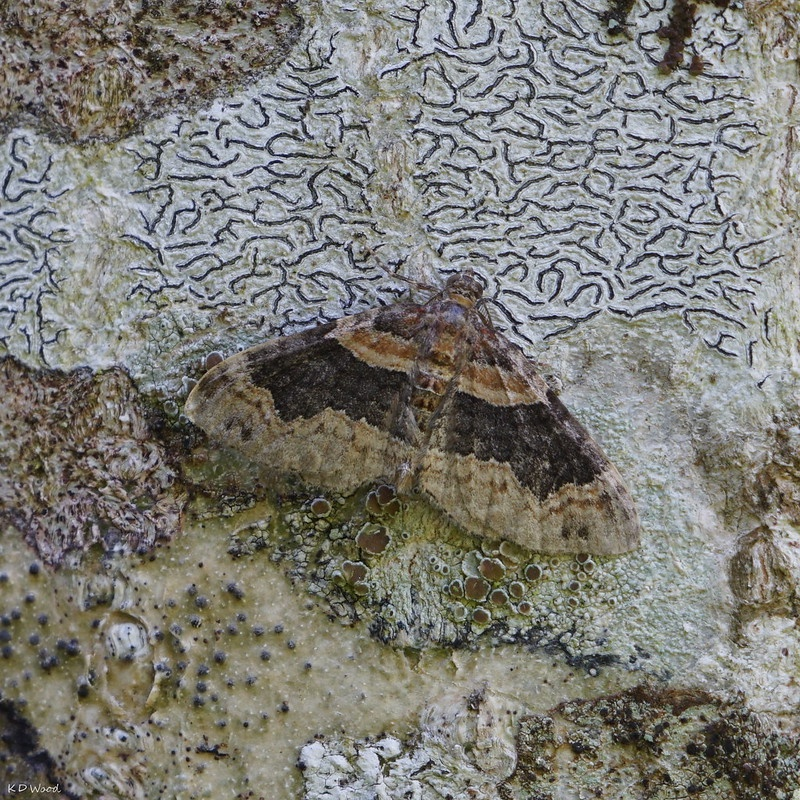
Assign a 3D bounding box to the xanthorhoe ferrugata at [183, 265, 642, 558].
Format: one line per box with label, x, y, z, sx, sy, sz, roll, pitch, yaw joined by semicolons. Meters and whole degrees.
xanthorhoe ferrugata;0.116;-0.046;5.869;1.679;0.423;0.915;14;70;8
